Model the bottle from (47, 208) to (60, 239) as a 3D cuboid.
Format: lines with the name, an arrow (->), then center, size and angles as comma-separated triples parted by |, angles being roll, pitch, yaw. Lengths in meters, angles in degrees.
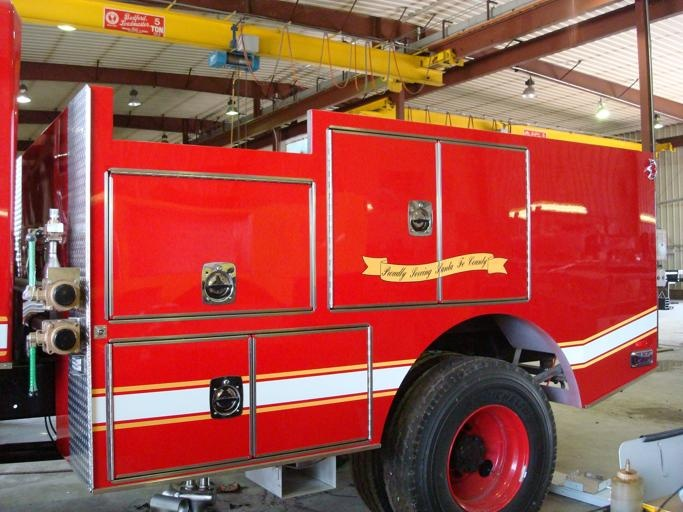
bottle -> -1.619, -0.182, 3.748 | 0.087, 0.170, 0.106 | 0, -3, -24
